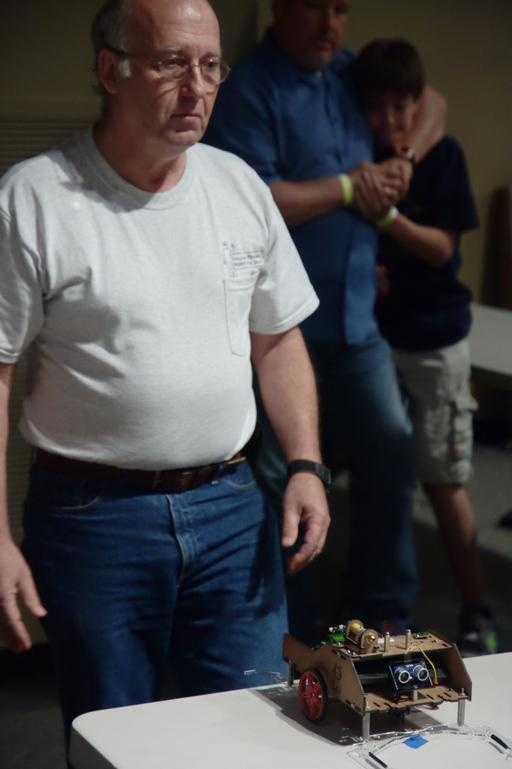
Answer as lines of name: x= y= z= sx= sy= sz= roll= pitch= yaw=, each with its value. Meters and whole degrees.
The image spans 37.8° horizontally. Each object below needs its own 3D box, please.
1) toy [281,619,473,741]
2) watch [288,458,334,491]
toy: x=0.173 y=0.422 z=1.122 sx=0.223 sy=0.135 sz=0.285 roll=3 pitch=-6 yaw=-36
watch: x=0.118 y=0.183 z=1.617 sx=0.090 sy=0.088 sz=0.051 roll=28 pitch=67 yaw=-15
